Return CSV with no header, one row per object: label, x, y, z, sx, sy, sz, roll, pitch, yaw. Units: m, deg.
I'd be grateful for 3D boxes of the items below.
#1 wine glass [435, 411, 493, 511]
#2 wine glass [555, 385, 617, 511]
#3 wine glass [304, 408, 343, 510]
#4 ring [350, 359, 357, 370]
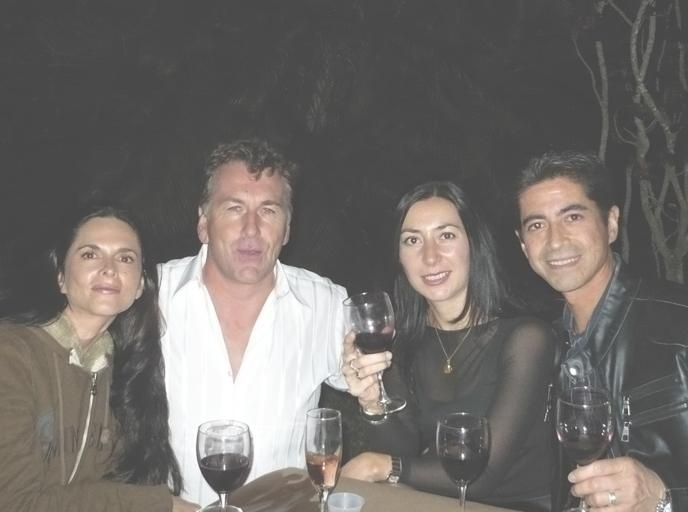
wine glass,0.526,0.918,2.763,0.228,0.401,0.232,-3,-10,-4
wine glass,1.088,0.872,2.775,0.245,0.547,0.278,-7,-10,19
wine glass,-0.105,0.896,2.715,0.165,0.433,0.215,4,-12,-36
ring,0.048,0.595,3.383,0.046,0.025,0.061,2,-18,3
